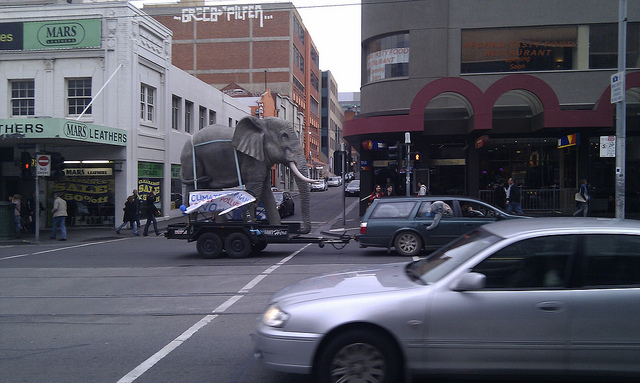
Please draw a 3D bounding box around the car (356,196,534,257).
[{"bbox_3d":[4.458,1.340,27.883,6.668,1.873,2.937,-3,2,2],"label":"car"}]

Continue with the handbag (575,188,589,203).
[{"bbox_3d":[13.618,0.308,33.447,0.482,0.613,0.673,4,3,27],"label":"handbag"}]

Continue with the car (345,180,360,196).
[{"bbox_3d":[2.917,-0.314,57.379,1.559,1.094,3.095,-1,-3,6],"label":"car"}]

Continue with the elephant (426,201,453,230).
[{"bbox_3d":[5.063,0.845,27.598,1.149,1.066,0.839,-2,16,-3],"label":"elephant"}]

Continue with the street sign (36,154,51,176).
[{"bbox_3d":[-13.943,-1.344,32.377,0.899,1.129,0.339,-15,12,-28],"label":"street sign"}]

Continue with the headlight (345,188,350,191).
[{"bbox_3d":[2.415,-0.166,56.882,0.334,0.202,0.615,-9,10,1],"label":"headlight"}]

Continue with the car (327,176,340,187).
[{"bbox_3d":[1.595,-1.160,76.330,1.551,1.132,2.626,-1,-3,5],"label":"car"}]

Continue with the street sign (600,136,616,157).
[{"bbox_3d":[12.365,-1.973,27.641,0.610,0.853,0.525,-5,12,24],"label":"street sign"}]

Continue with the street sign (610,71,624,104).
[{"bbox_3d":[12.755,-4.505,27.601,0.330,1.290,0.798,-13,11,-18],"label":"street sign"}]

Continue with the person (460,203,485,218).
[{"bbox_3d":[6.465,0.806,27.449,0.854,0.674,0.256,-7,11,12],"label":"person"}]

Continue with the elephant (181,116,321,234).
[{"bbox_3d":[-3.212,-0.739,29.474,6.799,5.200,3.359,-2,4,15],"label":"elephant"}]
